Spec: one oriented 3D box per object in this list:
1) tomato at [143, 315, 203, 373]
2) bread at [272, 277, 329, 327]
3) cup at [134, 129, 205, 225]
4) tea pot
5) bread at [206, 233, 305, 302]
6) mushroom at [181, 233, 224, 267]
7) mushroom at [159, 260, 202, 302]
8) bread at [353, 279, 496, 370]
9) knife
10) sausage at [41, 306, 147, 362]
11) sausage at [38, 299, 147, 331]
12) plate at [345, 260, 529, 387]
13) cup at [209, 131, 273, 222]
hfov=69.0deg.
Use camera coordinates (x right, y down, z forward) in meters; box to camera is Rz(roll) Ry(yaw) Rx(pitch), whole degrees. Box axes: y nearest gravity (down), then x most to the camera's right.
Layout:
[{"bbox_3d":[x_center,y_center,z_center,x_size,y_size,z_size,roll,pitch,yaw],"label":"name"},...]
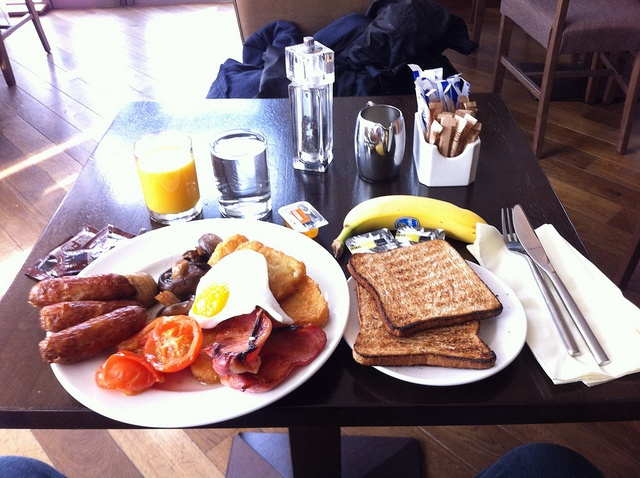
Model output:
[{"bbox_3d":[-0.220,0.154,0.692,0.092,0.040,0.074,1,37,8],"label":"tomato"},{"bbox_3d":[-0.023,0.105,0.755,0.070,0.019,0.068,13,53,41],"label":"bread"},{"bbox_3d":[-0.328,-0.131,1.007,0.120,0.150,0.141,-3,32,-8],"label":"cup"},{"bbox_3d":[0.132,-0.226,1.130,0.113,0.138,0.192,-5,20,-11],"label":"tea pot"},{"bbox_3d":[-0.104,0.035,0.790,0.119,0.028,0.121,25,40,7],"label":"bread"},{"bbox_3d":[-0.206,0.021,0.876,0.076,0.042,0.103,-17,7,1],"label":"mushroom"},{"bbox_3d":[-0.239,0.071,0.792,0.063,0.028,0.071,-11,37,5],"label":"mushroom"},{"bbox_3d":[0.161,0.137,0.747,0.208,0.036,0.152,0,37,7],"label":"bread"},{"bbox_3d":[0.405,0.062,0.840,0.037,0.016,0.333,3,43,-17],"label":"knife"},{"bbox_3d":[-0.342,0.147,0.732,0.145,0.048,0.064,-24,48,-28],"label":"sausage"},{"bbox_3d":[-0.366,0.102,0.761,0.166,0.047,0.050,-9,66,-23],"label":"sausage"},{"bbox_3d":[0.197,0.142,0.700,0.192,0.040,0.184,3,39,7],"label":"plate"},{"bbox_3d":[-0.168,-0.152,1.026,0.137,0.207,0.133,4,54,-5],"label":"cup"}]
